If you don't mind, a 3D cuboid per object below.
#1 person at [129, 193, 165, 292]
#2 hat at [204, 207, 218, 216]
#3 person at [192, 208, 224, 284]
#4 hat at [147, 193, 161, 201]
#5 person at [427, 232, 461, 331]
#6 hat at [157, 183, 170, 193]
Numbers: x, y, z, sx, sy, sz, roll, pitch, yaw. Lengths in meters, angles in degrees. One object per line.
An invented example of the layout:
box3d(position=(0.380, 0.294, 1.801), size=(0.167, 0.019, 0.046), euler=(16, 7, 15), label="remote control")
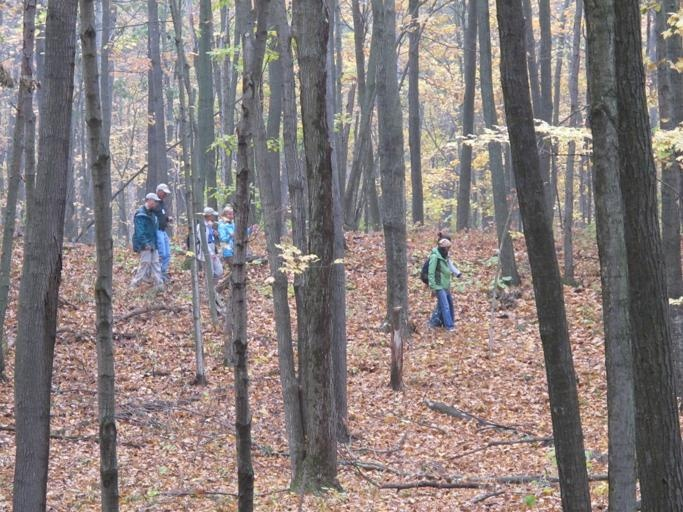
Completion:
box3d(position=(-5.586, -0.460, 53.993), size=(0.741, 2.758, 0.966), euler=(3, 5, 24), label="person")
box3d(position=(-3.751, -1.309, 53.528), size=(0.208, 0.135, 0.340), euler=(7, 7, 27), label="hat")
box3d(position=(-3.828, -0.276, 53.466), size=(0.681, 2.317, 0.832), euler=(0, 44, 2), label="person")
box3d(position=(-5.393, -1.738, 53.789), size=(0.312, 0.184, 0.225), euler=(7, 4, -25), label="hat")
box3d(position=(3.070, 0.779, 54.712), size=(0.889, 2.751, 0.609), euler=(1, 5, 3), label="person")
box3d(position=(-5.186, -1.995, 53.653), size=(0.440, 0.273, 0.329), euler=(3, 2, 17), label="hat")
